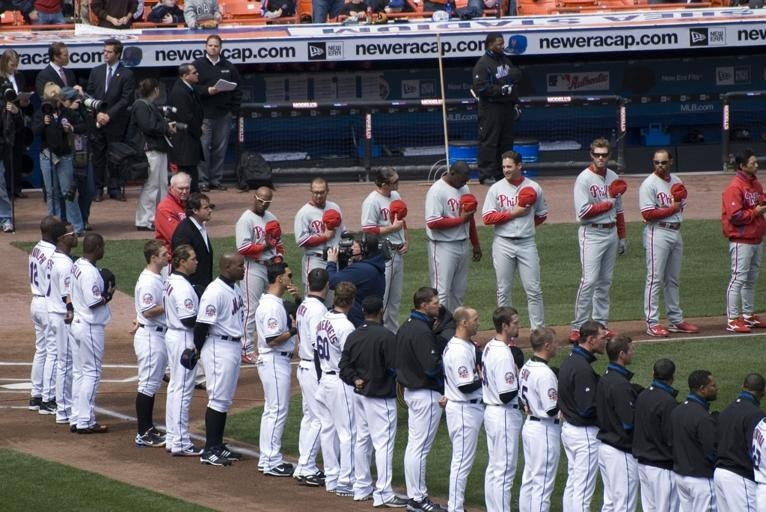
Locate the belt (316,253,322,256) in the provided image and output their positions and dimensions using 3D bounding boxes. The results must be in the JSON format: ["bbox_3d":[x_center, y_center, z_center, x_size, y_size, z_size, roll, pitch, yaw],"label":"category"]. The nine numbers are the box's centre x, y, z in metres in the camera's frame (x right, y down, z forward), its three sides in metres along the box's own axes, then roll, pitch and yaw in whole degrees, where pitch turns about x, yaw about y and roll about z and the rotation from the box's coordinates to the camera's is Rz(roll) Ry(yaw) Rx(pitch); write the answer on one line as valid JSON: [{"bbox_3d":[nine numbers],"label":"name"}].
[{"bbox_3d":[-1.116,-0.032,31.438,0.087,0.043,0.084,-2,-5,14],"label":"belt"}]

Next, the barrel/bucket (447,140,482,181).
[{"bbox_3d":[1.729,-2.147,40.892,0.756,0.718,0.751,5,6,0],"label":"barrel/bucket"}]

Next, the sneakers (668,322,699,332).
[{"bbox_3d":[5.427,1.279,32.603,0.554,0.226,0.198,-1,5,11],"label":"sneakers"}]

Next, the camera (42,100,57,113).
[{"bbox_3d":[-6.393,-2.858,34.421,0.257,0.187,0.181,-4,3,-1],"label":"camera"}]

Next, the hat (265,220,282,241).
[{"bbox_3d":[-1.946,-0.458,31.586,0.202,0.342,0.314,-9,17,-35],"label":"hat"}]

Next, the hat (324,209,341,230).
[{"bbox_3d":[-0.894,-0.648,31.379,0.348,0.354,0.299,1,1,-12],"label":"hat"}]

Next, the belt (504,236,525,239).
[{"bbox_3d":[2.319,-0.326,31.634,0.289,0.045,0.068,1,1,10],"label":"belt"}]

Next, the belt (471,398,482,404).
[{"bbox_3d":[1.441,2.238,27.939,0.163,0.085,0.119,-1,-26,-3],"label":"belt"}]

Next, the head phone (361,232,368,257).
[{"bbox_3d":[-0.316,-0.190,29.536,0.126,0.291,0.353,0,12,4],"label":"head phone"}]

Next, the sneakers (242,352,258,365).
[{"bbox_3d":[-2.471,1.812,32.253,0.409,0.175,0.152,2,9,36],"label":"sneakers"}]

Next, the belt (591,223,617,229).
[{"bbox_3d":[3.908,-0.556,31.996,0.425,0.096,0.112,1,1,-19],"label":"belt"}]

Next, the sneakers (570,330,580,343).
[{"bbox_3d":[3.428,1.432,32.174,0.167,0.189,0.445,2,-1,7],"label":"sneakers"}]

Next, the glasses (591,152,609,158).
[{"bbox_3d":[3.850,-1.799,31.905,0.290,0.100,0.191,1,1,7],"label":"glasses"}]

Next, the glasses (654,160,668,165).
[{"bbox_3d":[4.945,-1.682,32.248,0.122,0.094,0.276,0,1,-45],"label":"glasses"}]

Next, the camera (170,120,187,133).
[{"bbox_3d":[-3.999,-2.569,35.602,0.160,0.134,0.437,11,-7,-37],"label":"camera"}]

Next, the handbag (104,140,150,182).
[{"bbox_3d":[-4.951,-1.851,35.305,0.928,0.785,0.689,11,-1,14],"label":"handbag"}]

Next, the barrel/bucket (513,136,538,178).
[{"bbox_3d":[3.330,-2.265,41.167,0.932,0.928,0.881,-1,7,0],"label":"barrel/bucket"}]

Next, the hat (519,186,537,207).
[{"bbox_3d":[2.525,-1.053,31.582,0.312,0.372,0.227,1,1,5],"label":"hat"}]

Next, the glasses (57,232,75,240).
[{"bbox_3d":[-5.312,-0.355,30.327,0.327,0.130,0.108,0,1,-45],"label":"glasses"}]

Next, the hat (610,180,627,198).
[{"bbox_3d":[4.219,-1.192,31.953,0.265,0.324,0.164,24,-3,42],"label":"hat"}]

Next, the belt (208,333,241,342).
[{"bbox_3d":[-2.542,1.299,28.920,0.481,0.108,0.091,1,1,-6],"label":"belt"}]

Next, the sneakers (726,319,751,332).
[{"bbox_3d":[6.425,1.246,32.544,0.206,0.155,0.412,-3,4,-25],"label":"sneakers"}]

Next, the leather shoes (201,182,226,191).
[{"bbox_3d":[-3.733,-1.521,39.357,0.564,0.219,0.176,-3,12,-4],"label":"leather shoes"}]

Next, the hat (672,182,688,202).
[{"bbox_3d":[5.309,-1.167,32.353,0.265,0.284,0.330,0,22,2],"label":"hat"}]

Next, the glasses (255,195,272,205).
[{"bbox_3d":[-2.037,-0.975,31.482,0.223,0.113,0.438,2,1,24],"label":"glasses"}]

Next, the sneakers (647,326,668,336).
[{"bbox_3d":[4.940,1.331,32.469,0.183,0.142,0.335,-7,9,-44],"label":"sneakers"}]

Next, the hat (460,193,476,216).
[{"bbox_3d":[1.476,-0.937,31.412,0.280,0.355,0.272,1,1,2],"label":"hat"}]

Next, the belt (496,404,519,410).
[{"bbox_3d":[1.953,2.319,27.906,0.299,0.083,0.053,1,1,-19],"label":"belt"}]

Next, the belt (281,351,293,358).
[{"bbox_3d":[-1.543,1.571,28.776,0.146,0.050,0.110,20,1,19],"label":"belt"}]
